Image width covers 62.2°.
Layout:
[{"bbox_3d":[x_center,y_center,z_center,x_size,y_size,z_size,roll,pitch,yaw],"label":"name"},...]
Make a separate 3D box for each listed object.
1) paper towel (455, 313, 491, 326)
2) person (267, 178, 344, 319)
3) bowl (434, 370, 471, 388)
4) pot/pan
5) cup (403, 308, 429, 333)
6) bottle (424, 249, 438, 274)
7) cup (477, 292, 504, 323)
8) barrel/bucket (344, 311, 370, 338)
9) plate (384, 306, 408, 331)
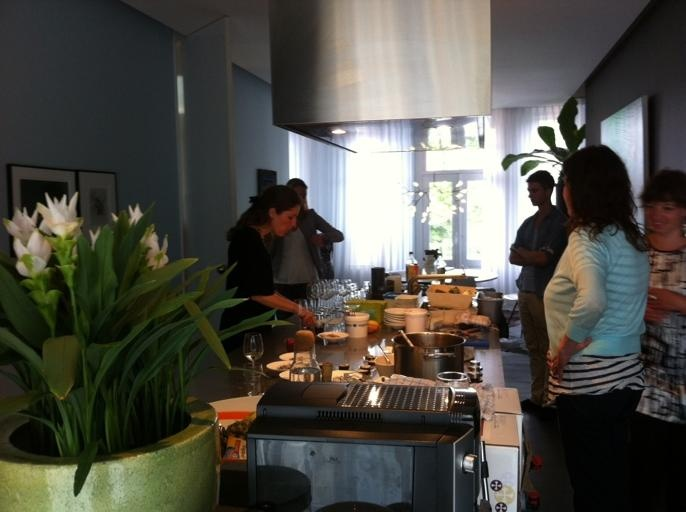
[{"bbox_3d":[0.727,0.358,3.163,0.165,0.066,0.184,0,1,11],"label":"paper towel"},{"bbox_3d":[-0.358,0.155,5.394,0.708,1.681,0.480,-5,16,-14],"label":"person"},{"bbox_3d":[0.345,0.387,1.791,0.093,0.070,0.096,0,-3,0],"label":"bowl"},{"bbox_3d":[0.341,0.383,2.166,0.233,0.147,0.349,-2,2,-40],"label":"pot/pan"},{"bbox_3d":[0.378,0.340,2.990,0.102,0.114,0.132,0,-4,5],"label":"cup"},{"bbox_3d":[0.914,0.059,5.855,0.151,0.224,0.588,0,1,9],"label":"bottle"},{"bbox_3d":[0.908,0.318,3.459,0.142,0.182,0.184,0,-6,0],"label":"cup"},{"bbox_3d":[0.086,0.358,2.913,0.107,0.118,0.160,0,2,32],"label":"barrel/bucket"},{"bbox_3d":[0.302,0.362,3.247,0.117,0.076,0.121,0,-2,-2],"label":"plate"}]
